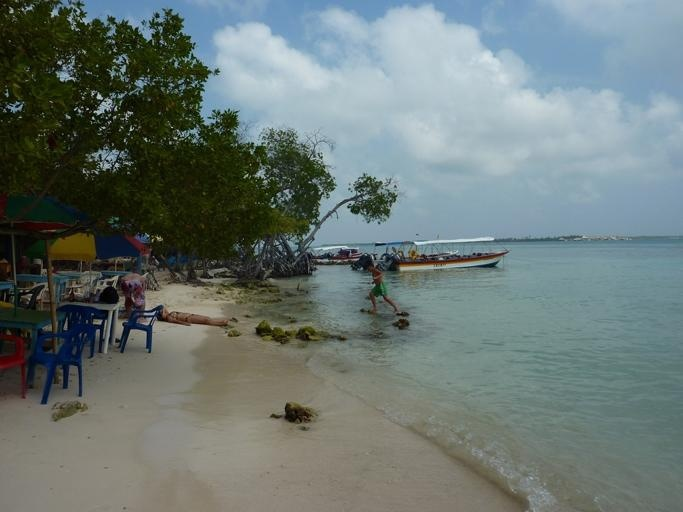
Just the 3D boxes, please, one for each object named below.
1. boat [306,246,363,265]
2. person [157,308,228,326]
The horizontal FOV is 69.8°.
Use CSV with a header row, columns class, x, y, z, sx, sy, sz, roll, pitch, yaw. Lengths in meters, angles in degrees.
class,x,y,z,sx,sy,sz,roll,pitch,yaw
boat,-1.054,-0.637,70.375,5.436,2.334,10.758,3,8,-8
person,-5.359,2.220,17.474,1.720,0.407,0.522,13,15,-23
